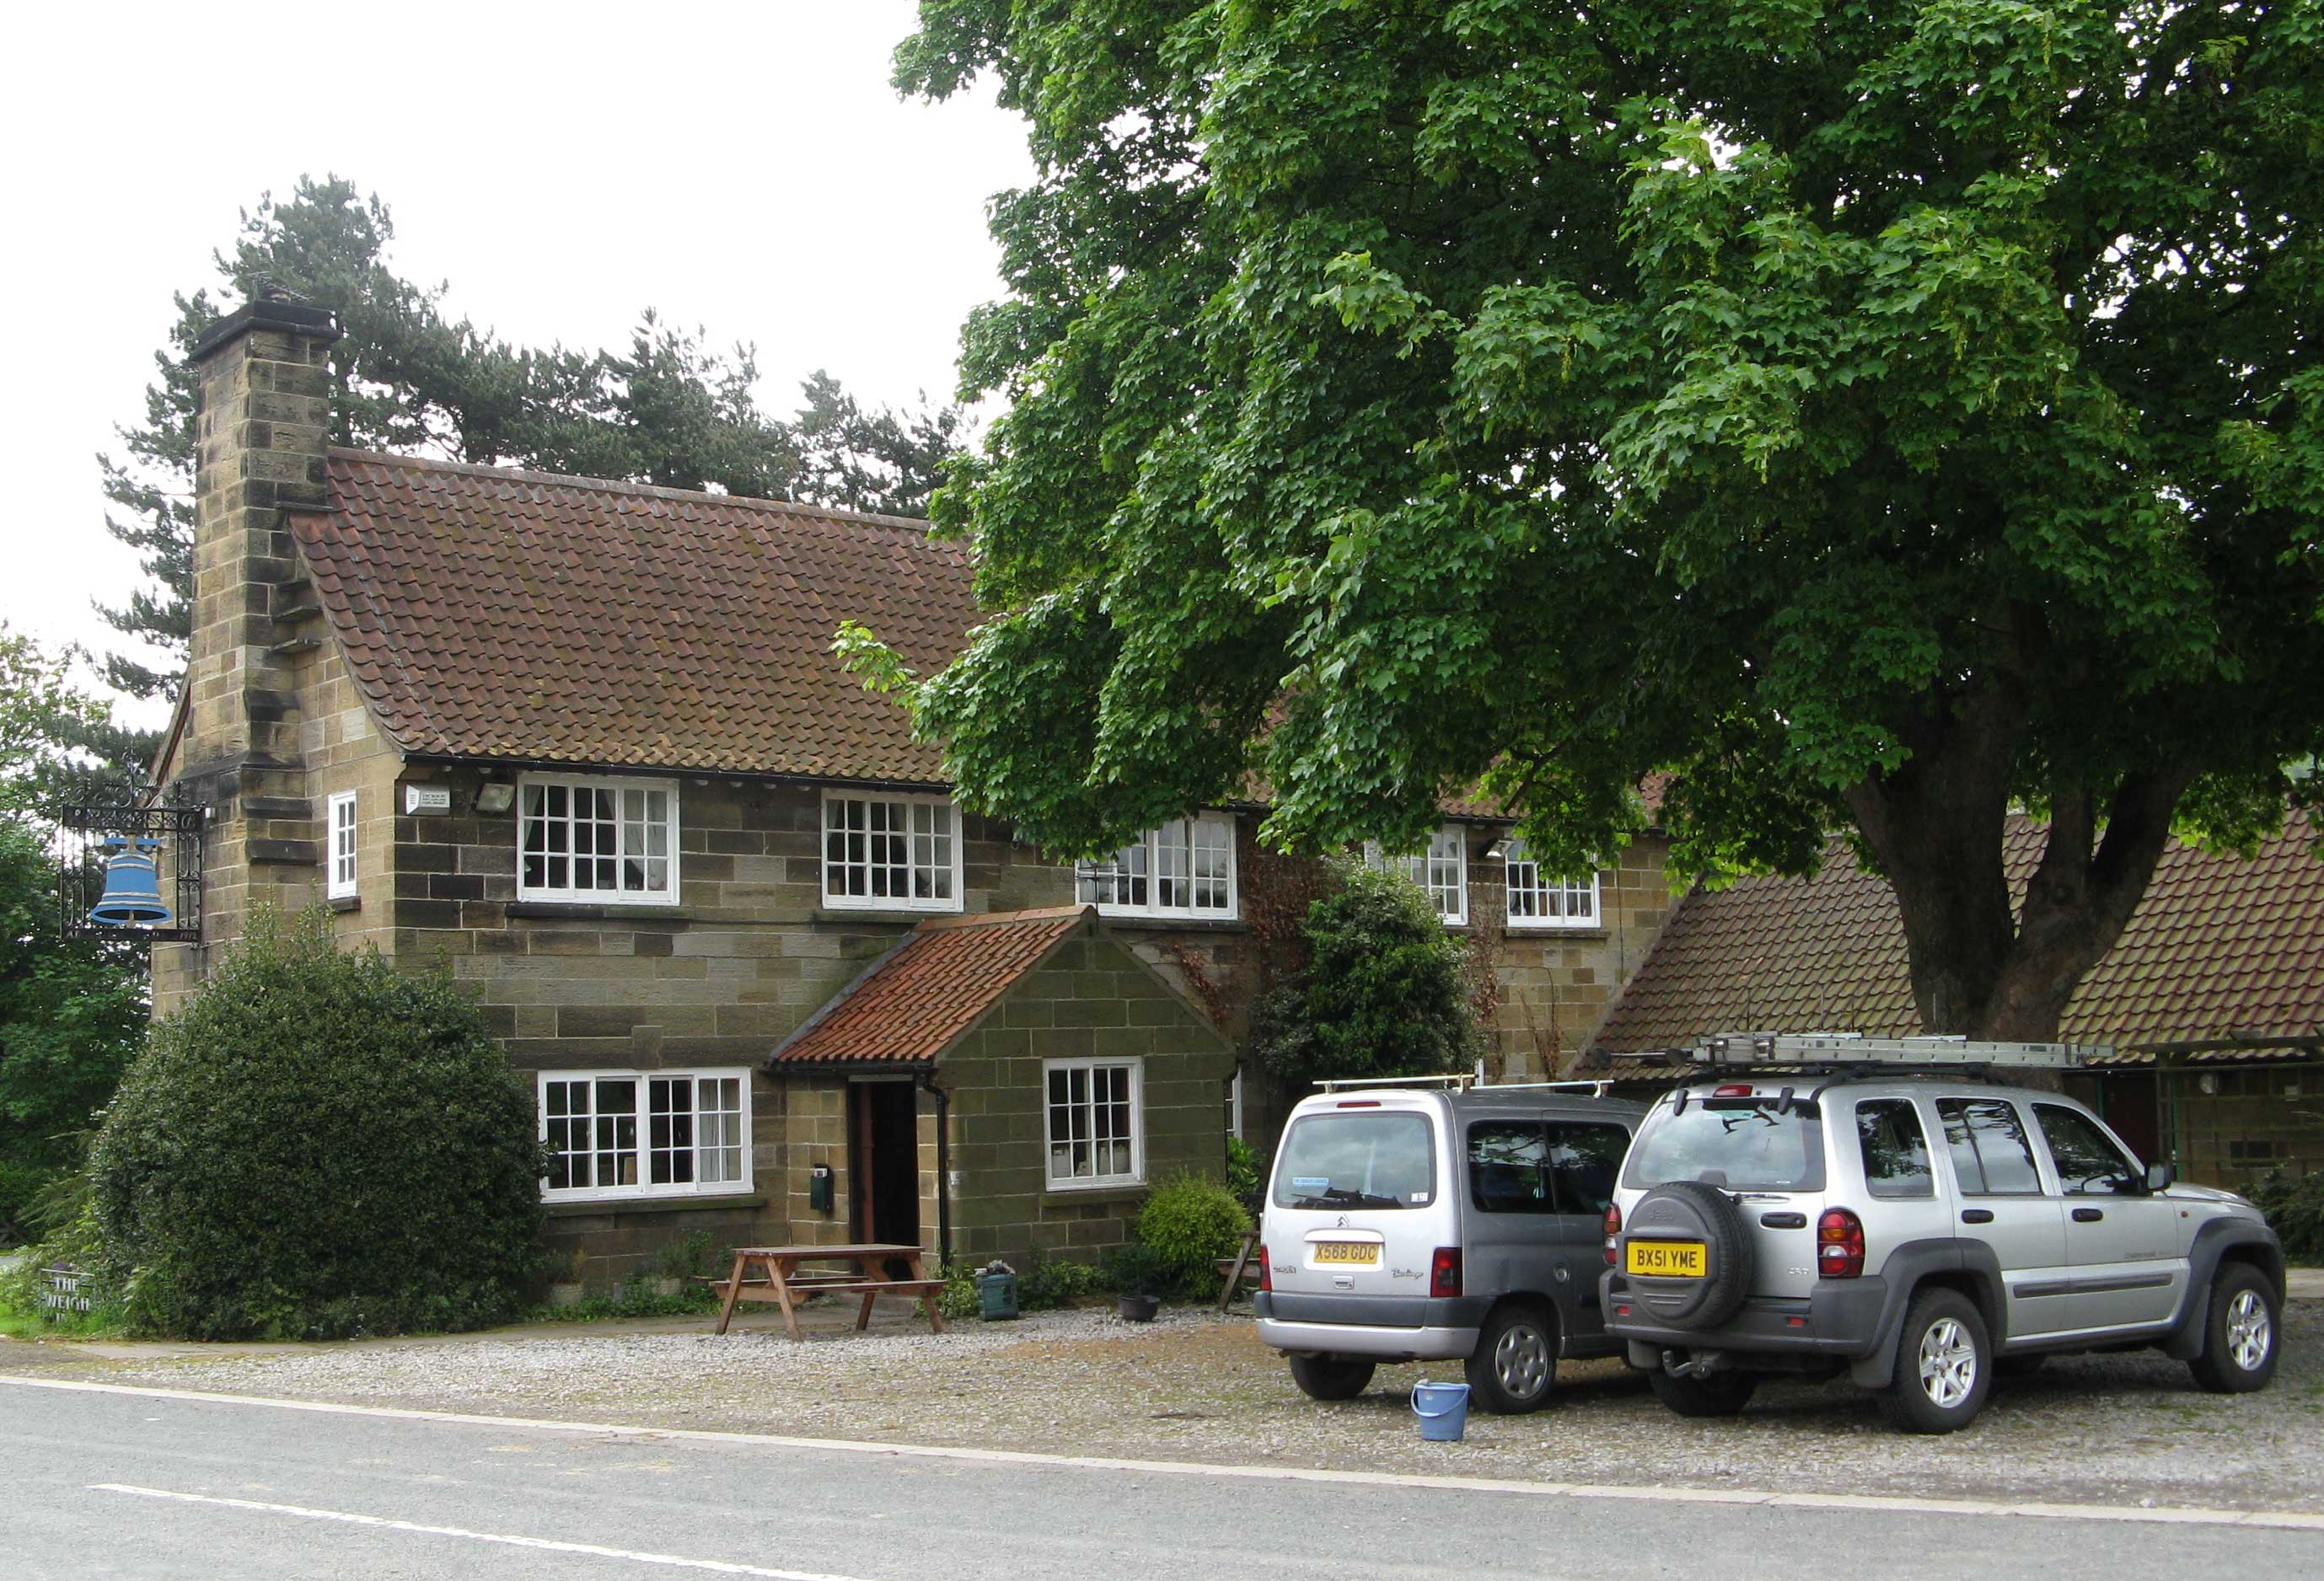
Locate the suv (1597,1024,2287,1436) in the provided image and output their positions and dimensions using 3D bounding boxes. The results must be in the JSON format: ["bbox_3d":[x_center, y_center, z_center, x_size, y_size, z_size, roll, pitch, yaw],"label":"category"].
[{"bbox_3d":[6.563,3.498,25.947,5.494,2.648,2.762,-3,-1,-36],"label":"suv"}]

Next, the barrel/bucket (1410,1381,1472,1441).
[{"bbox_3d":[2.285,5.035,25.024,0.460,0.398,0.463,-4,0,0],"label":"barrel/bucket"}]

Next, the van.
[{"bbox_3d":[2.207,3.789,26.466,2.076,2.015,3.690,-4,-3,40],"label":"van"}]
